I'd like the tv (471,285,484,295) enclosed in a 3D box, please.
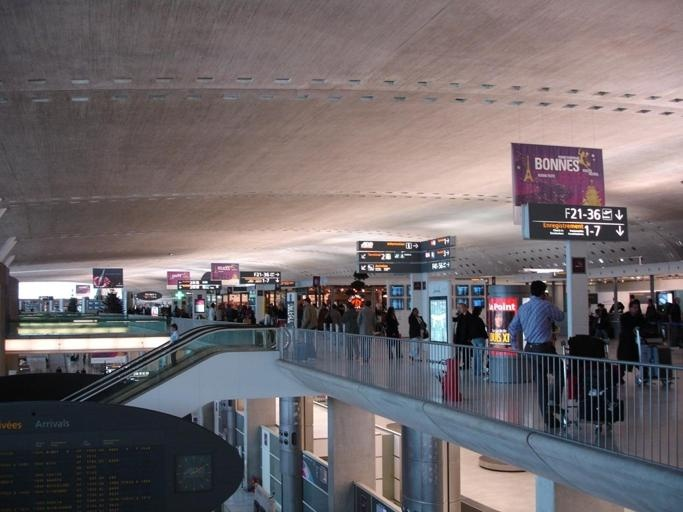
[{"bbox_3d":[9.469,2.433,40.203,0.733,0.622,0.363,2,-12,-12],"label":"tv"}]

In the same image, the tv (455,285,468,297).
[{"bbox_3d":[8.446,2.452,40.052,0.895,0.764,0.412,-3,-1,8],"label":"tv"}]
